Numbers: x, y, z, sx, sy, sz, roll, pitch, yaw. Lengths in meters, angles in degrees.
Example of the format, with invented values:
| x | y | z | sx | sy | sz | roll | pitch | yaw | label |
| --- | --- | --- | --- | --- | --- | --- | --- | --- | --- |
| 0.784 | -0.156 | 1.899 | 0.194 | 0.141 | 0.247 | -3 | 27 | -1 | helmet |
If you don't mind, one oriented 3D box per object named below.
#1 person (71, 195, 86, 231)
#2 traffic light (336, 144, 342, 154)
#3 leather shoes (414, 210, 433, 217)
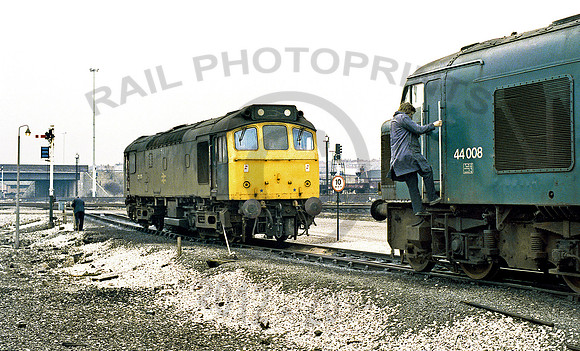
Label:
| x | y | z | sx | sy | sz | roll | pitch | yaw | label |
| --- | --- | --- | --- | --- | --- | --- | --- | --- | --- |
| -13.232 | 2.334 | 30.854 | 0.742 | 1.571 | 2.908 | -8 | 6 | -23 | person |
| 4.379 | -2.398 | 44.783 | 0.465 | 0.832 | 0.692 | -6 | 5 | -2 | traffic light |
| 3.561 | 0.994 | 13.169 | 0.497 | 0.205 | 0.177 | -1 | 1 | -40 | leather shoes |
